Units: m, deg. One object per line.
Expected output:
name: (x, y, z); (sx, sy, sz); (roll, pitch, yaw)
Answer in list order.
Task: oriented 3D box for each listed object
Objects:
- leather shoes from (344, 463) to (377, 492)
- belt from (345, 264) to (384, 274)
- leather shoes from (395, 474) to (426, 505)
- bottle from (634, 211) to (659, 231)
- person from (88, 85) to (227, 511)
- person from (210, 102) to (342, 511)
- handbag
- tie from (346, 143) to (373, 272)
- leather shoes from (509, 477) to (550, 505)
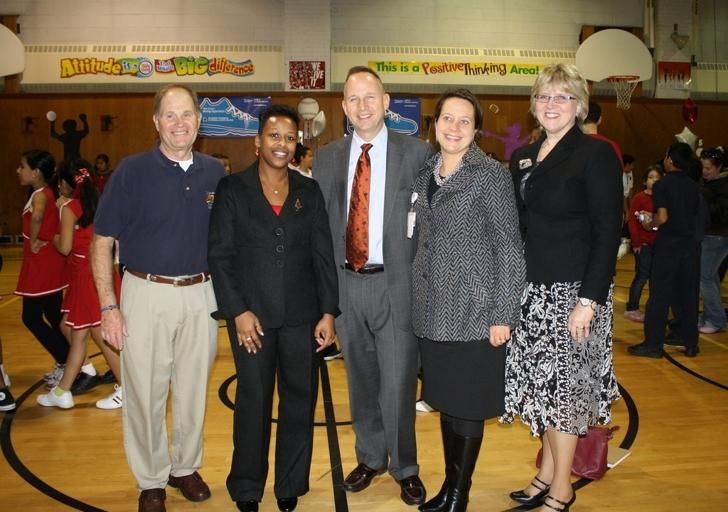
leather shoes: (-0.009, 1.381, 3.756); (0.104, 0.106, 0.247); (15, 18, 37)
belt: (-0.007, 0.077, 3.536); (0.255, 0.053, 0.045); (4, 12, 22)
leather shoes: (0.291, 1.414, 3.570); (0.090, 0.088, 0.214); (-1, 4, -14)
bottle: (2.815, -0.360, 5.929); (0.273, 0.208, 0.093); (5, -21, -41)
person: (-1.164, 0.258, 3.477); (0.747, 2.449, 0.455); (-6, 12, -26)
person: (-0.516, 0.320, 3.476); (0.735, 2.353, 0.411); (-4, 11, -16)
handbag: (1.264, 1.185, 3.550); (0.400, 0.389, 0.180); (13, 3, 30)
tie: (-0.030, -0.288, 3.541); (0.149, 0.741, 0.183); (-1, 11, 1)
leather shoes: (0.958, 1.431, 3.564); (0.286, 0.118, 0.106); (-8, 8, -11)
